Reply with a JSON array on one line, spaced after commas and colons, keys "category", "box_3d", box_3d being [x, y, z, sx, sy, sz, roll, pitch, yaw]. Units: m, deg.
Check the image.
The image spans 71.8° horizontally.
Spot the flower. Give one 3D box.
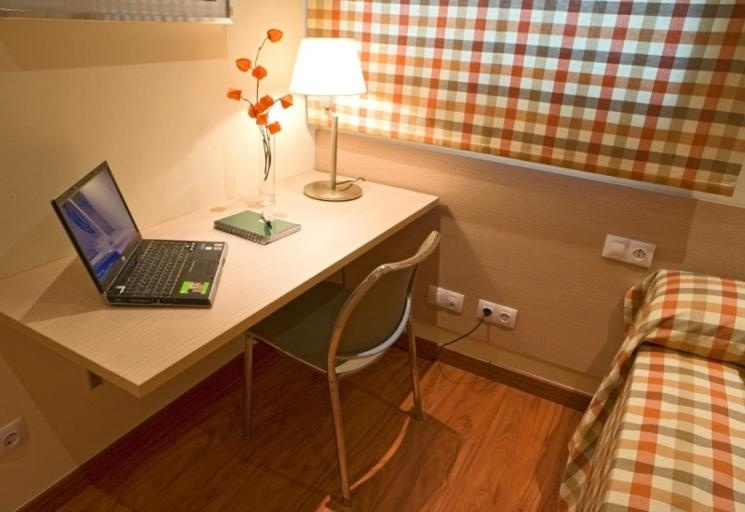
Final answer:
[{"category": "flower", "box_3d": [-0.482, -0.683, 2.228, 0.282, 0.559, 0.484, -2, 32, -8]}]

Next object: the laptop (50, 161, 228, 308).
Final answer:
[{"category": "laptop", "box_3d": [-0.733, -0.083, 1.710, 0.431, 0.338, 0.388, 1, 32, -4]}]

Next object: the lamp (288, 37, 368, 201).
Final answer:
[{"category": "lamp", "box_3d": [-0.203, -0.647, 2.396, 0.377, 0.750, 0.356, -26, 49, -35]}]

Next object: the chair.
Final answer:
[{"category": "chair", "box_3d": [-0.139, 0.489, 2.135, 0.556, 0.946, 0.554, 28, 41, 23]}]

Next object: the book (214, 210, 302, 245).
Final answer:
[{"category": "book", "box_3d": [-0.471, -0.118, 2.036, 0.206, 0.045, 0.171, 21, 31, 26]}]
